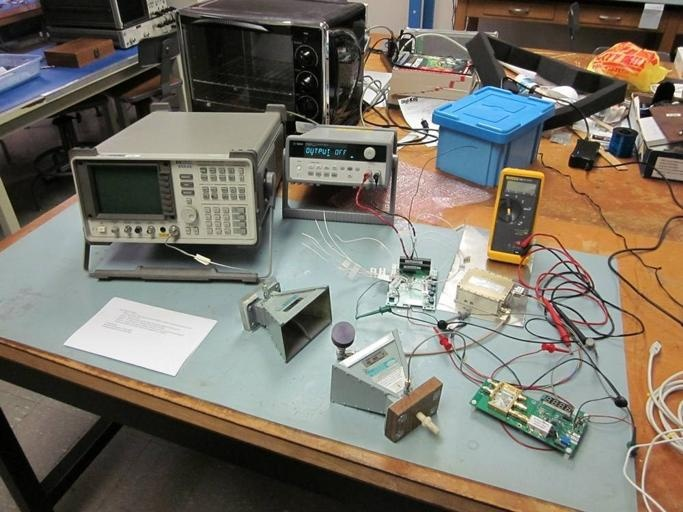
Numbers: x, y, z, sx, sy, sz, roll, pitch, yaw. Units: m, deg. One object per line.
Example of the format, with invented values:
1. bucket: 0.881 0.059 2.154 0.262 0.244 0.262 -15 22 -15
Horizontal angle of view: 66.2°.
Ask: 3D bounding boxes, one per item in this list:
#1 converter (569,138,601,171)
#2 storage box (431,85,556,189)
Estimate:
1. converter: 1.014 -0.444 2.188 0.098 0.059 0.170 15 47 25
2. storage box: 0.635 -0.511 2.158 0.353 0.288 0.468 26 41 34
